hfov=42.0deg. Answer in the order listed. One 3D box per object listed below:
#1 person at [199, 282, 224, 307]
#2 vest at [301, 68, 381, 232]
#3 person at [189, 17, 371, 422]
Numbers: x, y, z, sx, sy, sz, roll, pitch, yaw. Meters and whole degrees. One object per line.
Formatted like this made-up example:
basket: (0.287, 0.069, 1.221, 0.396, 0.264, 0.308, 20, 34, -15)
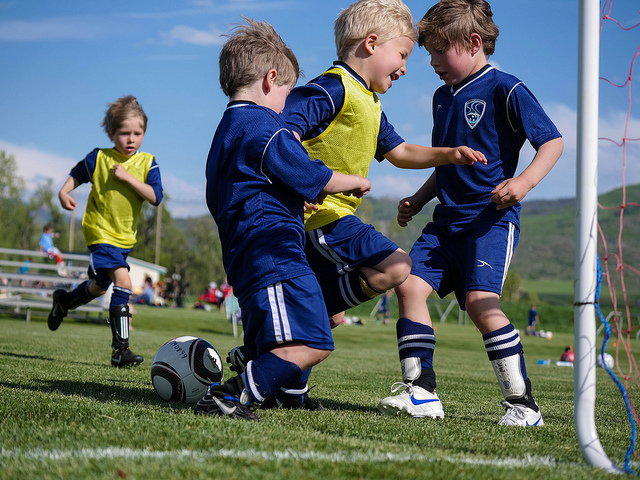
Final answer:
person: (-5.229, 2.745, 41.253, 0.759, 1.510, 2.673, -1, -7, 5)
vest: (0.133, -0.541, 5.058, 0.465, 1.004, 0.476, 2, -3, 3)
person: (-0.257, -0.159, 4.685, 0.814, 2.288, 0.356, 2, -3, -1)
